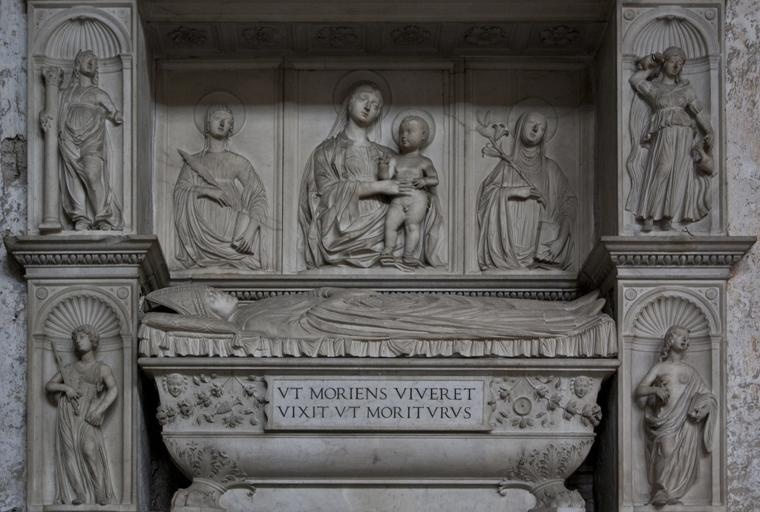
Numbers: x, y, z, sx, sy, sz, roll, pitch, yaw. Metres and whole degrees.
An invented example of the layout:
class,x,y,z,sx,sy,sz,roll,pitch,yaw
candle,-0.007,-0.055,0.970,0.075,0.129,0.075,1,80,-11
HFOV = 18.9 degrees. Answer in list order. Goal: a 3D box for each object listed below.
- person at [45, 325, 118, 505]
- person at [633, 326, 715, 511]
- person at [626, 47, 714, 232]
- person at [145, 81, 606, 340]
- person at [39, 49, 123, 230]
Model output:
class,x,y,z,sx,sy,sz,roll,pitch,yaw
person,-2.041,1.113,15.724,0.470,1.217,0.213,0,-2,-7
person,2.036,1.120,15.671,0.554,1.224,0.199,-1,-2,7
person,2.045,-0.787,15.941,0.558,1.258,0.190,-1,-2,1
person,-0.209,-0.547,16.545,2.525,1.326,0.336,-1,-2,5
person,-2.064,-0.786,15.946,0.559,1.262,0.189,0,-2,-4
